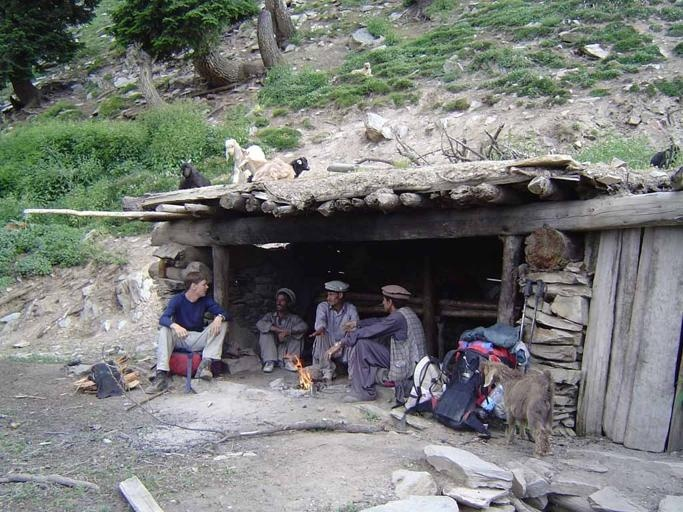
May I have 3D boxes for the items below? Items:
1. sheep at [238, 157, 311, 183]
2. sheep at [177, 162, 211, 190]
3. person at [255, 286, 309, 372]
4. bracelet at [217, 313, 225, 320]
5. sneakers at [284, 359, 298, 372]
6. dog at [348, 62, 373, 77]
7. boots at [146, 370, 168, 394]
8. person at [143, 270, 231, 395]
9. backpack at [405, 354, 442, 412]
[{"bbox_3d":[-1.399,-1.650,10.817,1.987,0.403,1.057,8,11,41],"label":"sheep"},{"bbox_3d":[-2.628,-1.436,10.160,0.505,0.467,0.970,-1,9,-10],"label":"sheep"},{"bbox_3d":[-1.050,1.306,10.164,0.889,1.343,0.846,0,11,-8],"label":"person"},{"bbox_3d":[-1.889,0.955,8.967,0.091,0.092,0.087,-17,29,45],"label":"bracelet"},{"bbox_3d":[-0.841,1.896,10.009,0.160,0.168,0.420,1,-3,-37],"label":"sneakers"},{"bbox_3d":[0.836,-7.308,22.589,0.774,0.466,1.055,-8,12,-35],"label":"dog"},{"bbox_3d":[-2.731,1.856,8.492,0.283,0.253,0.376,-1,9,-10],"label":"boots"},{"bbox_3d":[-2.355,1.092,8.861,1.099,1.661,0.917,-2,11,-17],"label":"person"},{"bbox_3d":[1.185,1.737,7.703,0.514,0.731,0.356,-9,15,-44],"label":"backpack"}]
